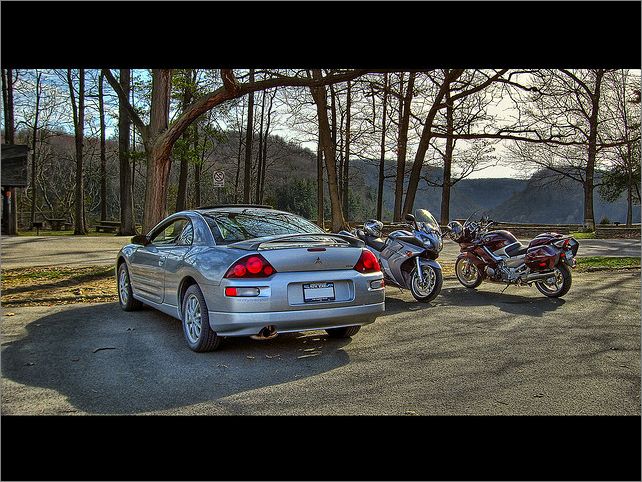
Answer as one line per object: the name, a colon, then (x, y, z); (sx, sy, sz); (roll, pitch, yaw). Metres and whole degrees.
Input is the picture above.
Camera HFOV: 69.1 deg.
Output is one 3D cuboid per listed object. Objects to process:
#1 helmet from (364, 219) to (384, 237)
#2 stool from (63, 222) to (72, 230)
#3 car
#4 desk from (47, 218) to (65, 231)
helmet: (1.066, -0.277, 9.689); (0.383, 0.344, 0.306); (-10, 9, -9)
stool: (-20.928, -1.225, 39.029); (0.730, 0.507, 0.680); (0, -5, 5)
car: (-1.179, 0.421, 6.589); (3.666, 1.897, 1.721); (3, 4, 41)
desk: (-21.196, -1.388, 37.922); (1.204, 0.471, 1.194); (1, -6, -9)
